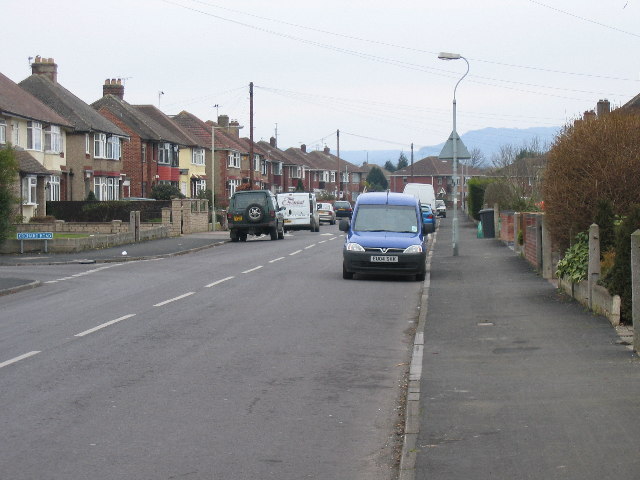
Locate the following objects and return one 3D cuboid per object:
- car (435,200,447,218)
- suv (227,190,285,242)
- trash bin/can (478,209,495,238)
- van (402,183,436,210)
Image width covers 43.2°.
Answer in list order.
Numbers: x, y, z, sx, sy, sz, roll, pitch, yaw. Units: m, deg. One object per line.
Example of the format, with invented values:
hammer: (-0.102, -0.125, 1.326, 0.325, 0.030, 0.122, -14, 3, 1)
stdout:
car: (12.366, -2.967, 82.000, 1.359, 1.461, 2.572, -1, -1, 4)
suv: (-3.080, -1.390, 40.616, 1.599, 1.695, 3.148, -1, 6, 6)
trash bin/can: (7.766, -0.722, 37.499, 0.614, 1.372, 1.827, 0, 4, 11)
van: (7.468, -3.428, 60.460, 2.265, 2.318, 4.264, 1, 3, 9)
